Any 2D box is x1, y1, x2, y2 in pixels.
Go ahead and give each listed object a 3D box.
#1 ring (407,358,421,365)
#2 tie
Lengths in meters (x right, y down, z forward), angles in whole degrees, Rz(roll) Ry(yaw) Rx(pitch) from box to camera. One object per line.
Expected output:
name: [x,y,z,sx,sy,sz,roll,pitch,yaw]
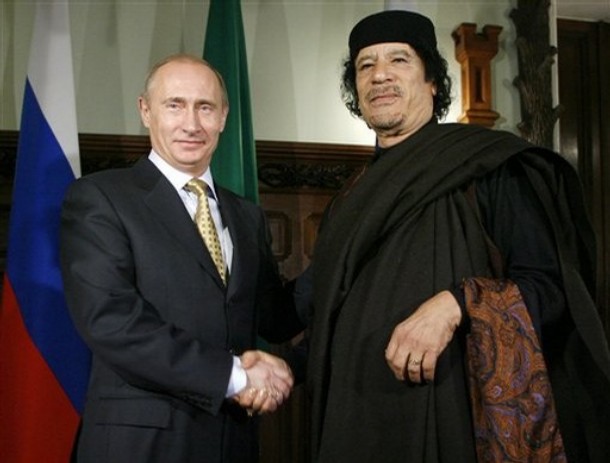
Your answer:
ring: [0.329,0.394,1.929,0.036,0.019,0.009,-1,5,12]
tie: [-0.356,-0.014,2.325,0.115,0.058,0.436,10,41,-41]
